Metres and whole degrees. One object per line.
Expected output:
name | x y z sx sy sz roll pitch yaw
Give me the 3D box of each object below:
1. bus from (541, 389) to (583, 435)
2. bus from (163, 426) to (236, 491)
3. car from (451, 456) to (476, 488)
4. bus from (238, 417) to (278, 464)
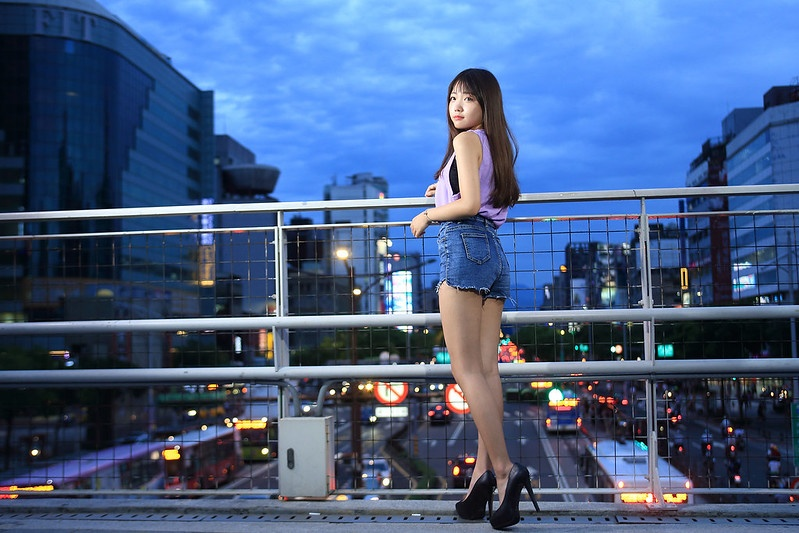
bus | 9.935 8.987 67.083 1.933 1.534 3.196 -1 -3 6
bus | -12.007 12.024 67.134 2.186 2.949 6.054 -7 -2 26
car | 3.758 12.214 65.435 1.258 1.029 1.970 -1 -3 4
bus | -8.280 10.829 66.195 2.474 2.355 3.349 0 -6 3
